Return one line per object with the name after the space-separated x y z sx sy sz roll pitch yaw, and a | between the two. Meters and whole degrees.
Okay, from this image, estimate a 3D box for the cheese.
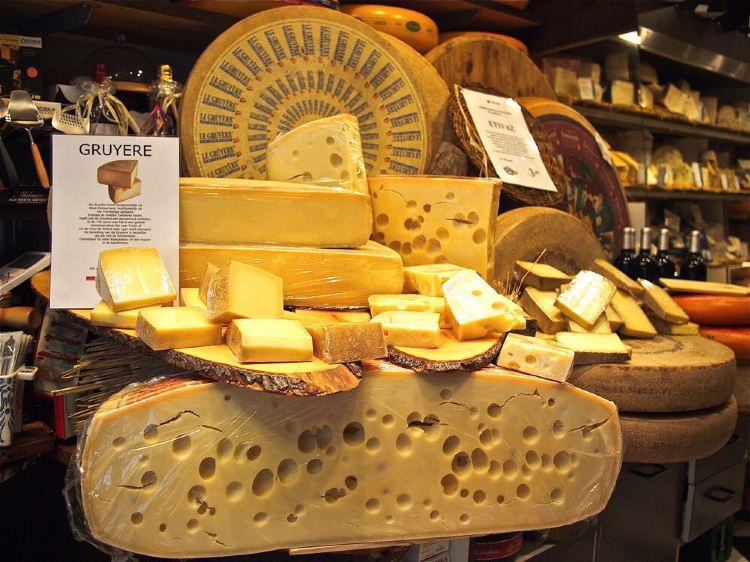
-0.231 0.015 1.624 1.262 1.136 0.302 -3 -11 -18 | cheese
